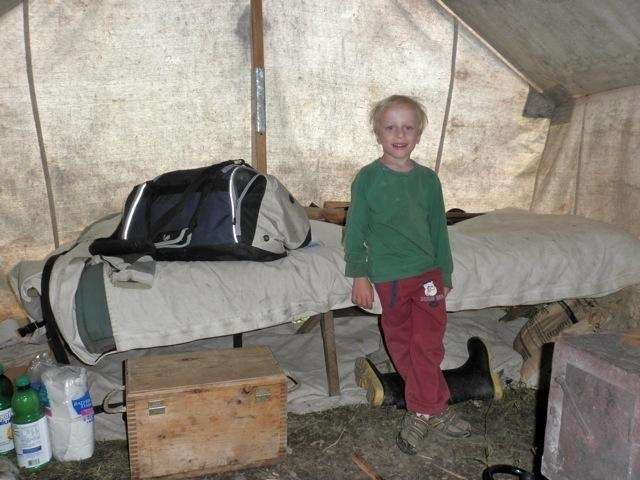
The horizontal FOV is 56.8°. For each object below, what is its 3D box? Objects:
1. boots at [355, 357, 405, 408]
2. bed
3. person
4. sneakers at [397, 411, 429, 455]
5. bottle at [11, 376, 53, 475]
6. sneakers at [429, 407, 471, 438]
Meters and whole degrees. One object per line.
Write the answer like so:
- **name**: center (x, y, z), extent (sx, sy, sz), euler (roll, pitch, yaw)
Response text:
- **boots**: center (0.283, 0.700, 3.003), extent (0.228, 0.125, 0.313), euler (0, 25, -24)
- **bed**: center (0.002, -0.043, 2.991), extent (1.875, 0.444, 1.300), euler (-7, 15, -11)
- **person**: center (0.397, 0.137, 2.765), extent (0.429, 1.584, 0.433), euler (8, 16, 44)
- **sneakers**: center (0.423, 0.874, 2.740), extent (0.157, 0.170, 0.153), euler (2, 12, 23)
- **bottle**: center (-1.253, 0.778, 2.548), extent (0.142, 0.407, 0.078), euler (-9, 13, -27)
- **sneakers**: center (0.616, 0.856, 2.788), extent (0.196, 0.089, 0.112), euler (5, 26, 26)
